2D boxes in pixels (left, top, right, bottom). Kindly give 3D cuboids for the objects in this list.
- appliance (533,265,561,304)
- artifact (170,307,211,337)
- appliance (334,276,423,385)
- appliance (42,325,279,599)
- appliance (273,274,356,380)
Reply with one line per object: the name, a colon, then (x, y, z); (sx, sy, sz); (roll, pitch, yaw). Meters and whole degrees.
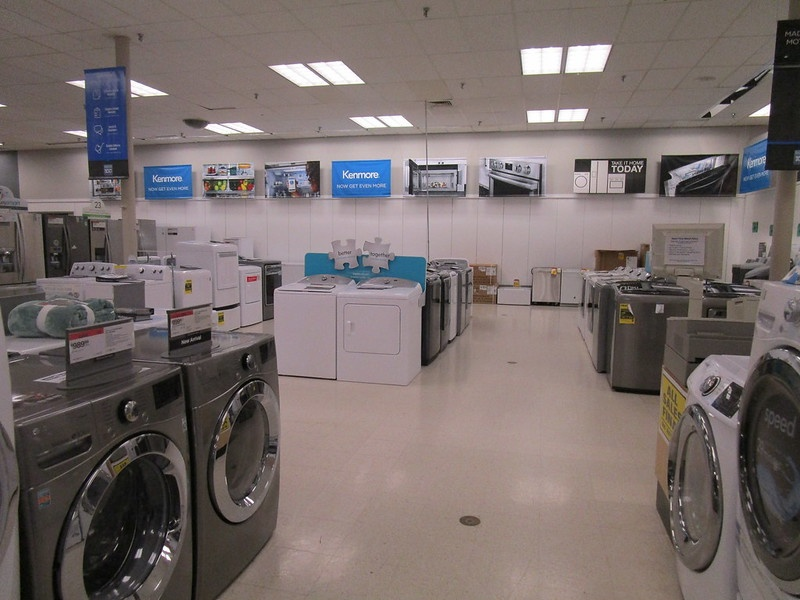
appliance: (3.147, -0.329, 11.804); (0.632, 0.963, 0.693); (0, 2, 10)
artifact: (-1.060, 0.098, 2.807); (0.079, 0.132, 0.345); (4, 12, 18)
appliance: (-0.197, 0.333, 6.067); (0.877, 1.325, 0.968); (1, 2, 13)
appliance: (-1.164, 0.813, 3.499); (1.171, 1.881, 1.275); (1, 6, 12)
appliance: (-0.966, 0.274, 6.183); (0.893, 1.413, 0.896); (2, 4, 15)
